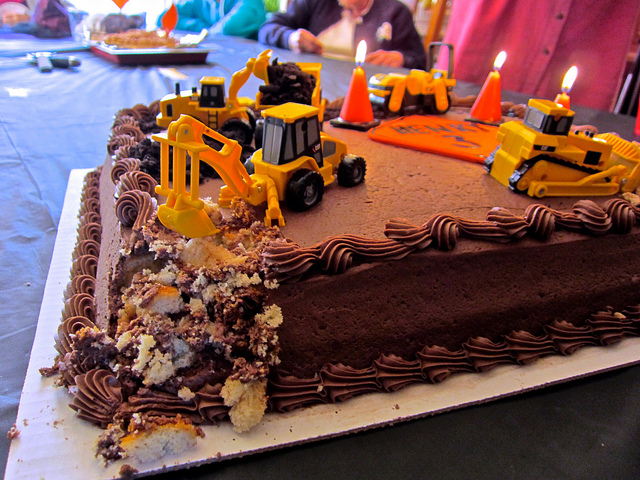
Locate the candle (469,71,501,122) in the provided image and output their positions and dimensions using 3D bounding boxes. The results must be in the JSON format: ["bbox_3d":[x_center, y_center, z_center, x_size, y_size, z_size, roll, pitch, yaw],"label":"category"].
[{"bbox_3d":[2.063,-1.750,6.598,0.387,0.668,0.302,4,46,5],"label":"candle"}]

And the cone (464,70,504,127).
[{"bbox_3d":[2.066,-1.716,6.615,0.468,0.635,0.432,-12,43,-12],"label":"cone"}]
